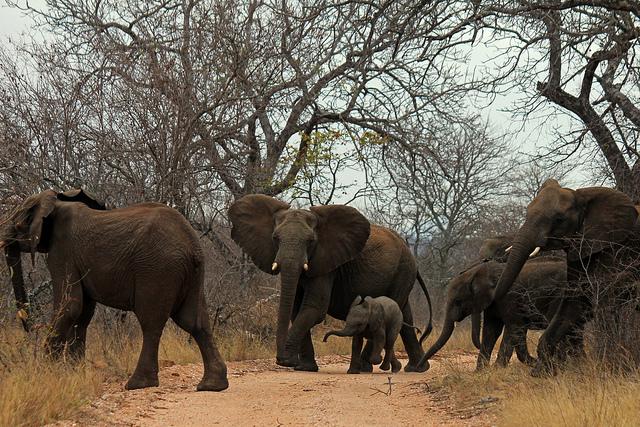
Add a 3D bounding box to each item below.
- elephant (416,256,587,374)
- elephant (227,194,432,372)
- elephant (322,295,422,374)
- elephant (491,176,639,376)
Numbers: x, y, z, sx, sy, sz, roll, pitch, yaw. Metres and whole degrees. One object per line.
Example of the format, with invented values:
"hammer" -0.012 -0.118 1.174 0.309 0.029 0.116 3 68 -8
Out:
"elephant" 3.812 1.987 15.442 3.435 2.289 1.526 -1 -2 15
"elephant" 0.695 1.653 16.918 4.635 3.635 2.607 9 -11 -33
"elephant" 1.080 2.485 16.060 2.702 1.700 0.805 6 -4 -43
"elephant" 4.439 1.108 13.760 2.129 3.198 0.910 2 2 22
